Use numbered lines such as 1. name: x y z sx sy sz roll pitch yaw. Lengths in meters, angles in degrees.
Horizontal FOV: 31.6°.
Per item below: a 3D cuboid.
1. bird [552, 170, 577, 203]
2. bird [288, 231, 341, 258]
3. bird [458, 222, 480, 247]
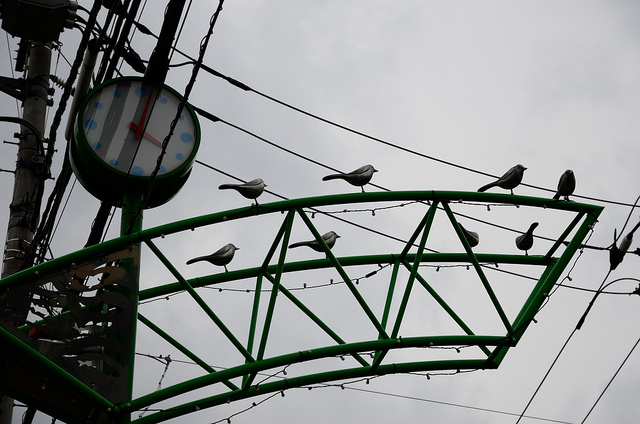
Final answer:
1. bird: 5.062 -0.542 23.422 0.338 0.474 1.064 12 -38 6
2. bird: -0.163 0.779 28.313 1.412 0.470 0.699 -2 -69 20
3. bird: 3.735 0.671 28.116 0.286 0.759 0.675 -3 -64 15
